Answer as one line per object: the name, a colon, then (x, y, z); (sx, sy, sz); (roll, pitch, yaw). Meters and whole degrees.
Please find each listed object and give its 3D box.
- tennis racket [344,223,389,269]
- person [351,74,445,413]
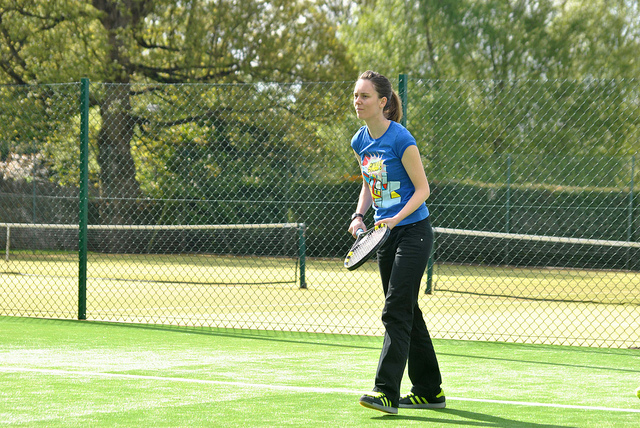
tennis racket: (0.585, 0.370, 11.296); (0.541, 0.555, 0.418); (1, 8, 4)
person: (0.972, 0.352, 11.318); (1.199, 4.160, 0.932); (4, 9, 21)
